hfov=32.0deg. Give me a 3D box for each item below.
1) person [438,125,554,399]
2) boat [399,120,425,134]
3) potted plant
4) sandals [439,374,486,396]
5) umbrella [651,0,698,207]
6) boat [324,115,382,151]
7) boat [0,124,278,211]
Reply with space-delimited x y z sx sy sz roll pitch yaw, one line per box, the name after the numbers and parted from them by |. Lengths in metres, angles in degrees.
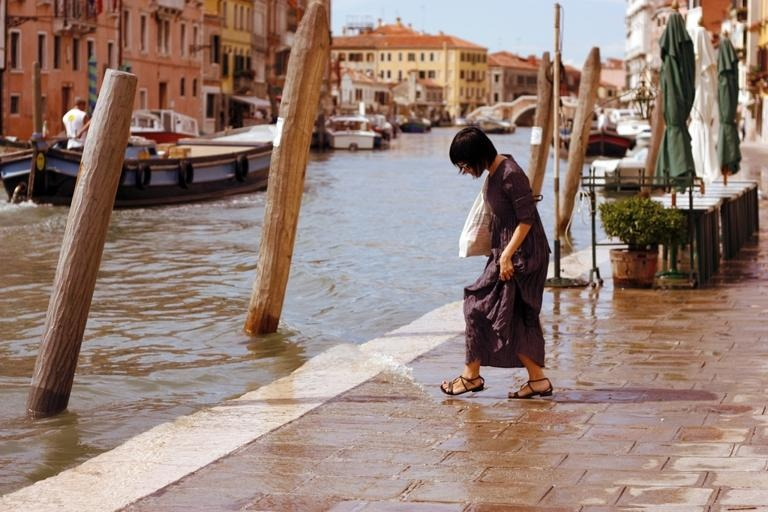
1.026 0.069 11.614 0.918 2.341 0.330 1 7 2 | person
2.704 -11.790 122.811 2.190 0.971 1.817 1 5 7 | boat
3.261 -0.136 15.880 1.187 0.947 1.231 7 -6 -38 | potted plant
0.695 1.139 11.784 0.374 0.112 0.168 0 10 5 | sandals
3.839 -2.100 17.515 0.504 2.108 0.454 2 7 9 | umbrella
-1.777 -6.745 74.342 4.062 1.473 6.935 0 4 1 | boat
-4.660 -2.009 34.084 3.320 1.299 11.274 7 10 25 | boat
